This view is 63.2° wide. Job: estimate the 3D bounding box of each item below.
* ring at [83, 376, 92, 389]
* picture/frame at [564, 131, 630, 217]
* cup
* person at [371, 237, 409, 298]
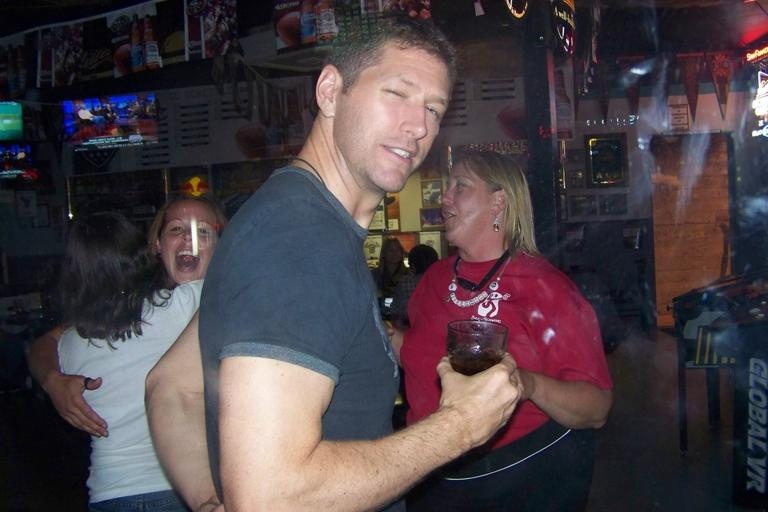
[{"bbox_3d":[-2.094,0.892,4.381,0.057,0.074,0.027,-1,-1,4],"label":"ring"},{"bbox_3d":[3.080,-1.197,9.141,1.197,1.635,0.131,0,-2,-3],"label":"picture/frame"},{"bbox_3d":[0.573,0.586,4.059,0.393,0.370,0.423,6,5,-1],"label":"cup"},{"bbox_3d":[0.061,0.157,7.689,0.604,0.981,0.329,3,-19,-7],"label":"person"}]
